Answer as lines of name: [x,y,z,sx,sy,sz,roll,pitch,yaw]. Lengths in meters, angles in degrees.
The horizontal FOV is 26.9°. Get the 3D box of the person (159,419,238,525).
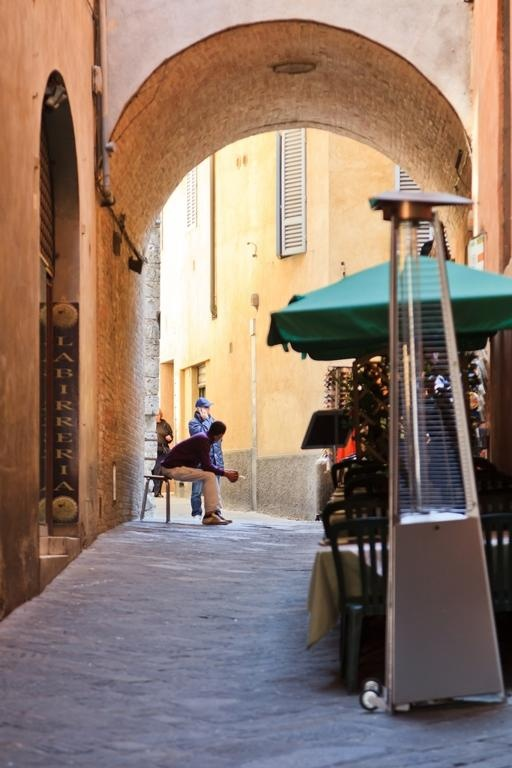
person: [-0.601,1.082,11.993,0.718,1.349,0.517,0,-38,0]

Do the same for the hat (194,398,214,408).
hat: [-0.748,0.254,14.287,0.187,0.152,0.165,0,2,17]

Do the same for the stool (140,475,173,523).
stool: [-1.288,1.435,13.934,0.351,0.635,0.448,3,8,-25]

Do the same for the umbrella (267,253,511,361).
umbrella: [0.550,-0.340,4.572,0.715,0.351,0.846,-1,2,-11]
